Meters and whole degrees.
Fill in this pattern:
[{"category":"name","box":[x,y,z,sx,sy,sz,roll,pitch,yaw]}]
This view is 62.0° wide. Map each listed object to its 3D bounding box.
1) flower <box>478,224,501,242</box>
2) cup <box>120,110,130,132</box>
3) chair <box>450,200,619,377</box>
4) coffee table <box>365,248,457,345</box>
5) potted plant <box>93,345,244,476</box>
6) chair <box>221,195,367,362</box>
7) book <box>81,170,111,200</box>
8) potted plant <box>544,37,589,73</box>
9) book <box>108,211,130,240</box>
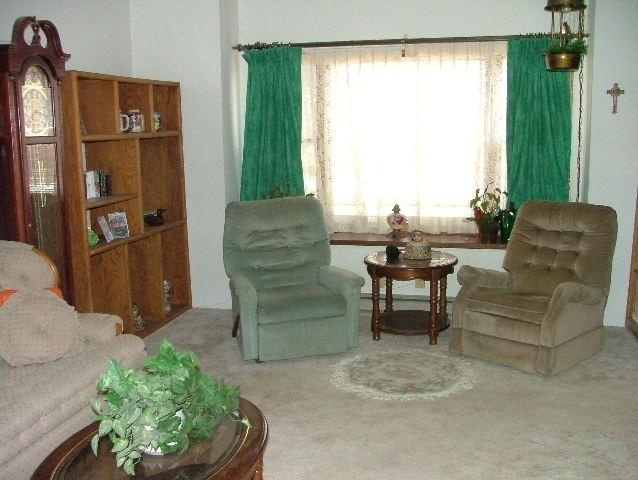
[{"category":"flower","box":[1.704,-0.084,5.334,0.181,0.186,0.196,0,-2,13]},{"category":"cup","box":[-1.732,-1.050,4.700,0.114,0.151,0.055,-1,8,-17]},{"category":"chair","box":[1.711,0.290,4.694,1.466,1.475,1.180,-4,6,-40]},{"category":"coffee table","box":[0.779,0.428,4.768,0.820,0.666,0.792,1,11,5]},{"category":"potted plant","box":[-0.698,0.687,2.228,0.549,0.232,0.533,-2,13,-13]},{"category":"chair","box":[-0.238,0.242,4.835,1.208,1.380,1.320,-4,6,-15]},{"category":"book","box":[-1.874,-0.478,4.580,0.220,0.283,0.296,-1,7,0]},{"category":"potted plant","box":[1.863,-1.408,4.032,0.292,0.224,0.253,2,14,14]},{"category":"book","box":[-1.760,-0.136,4.633,0.212,0.283,0.039,-15,0,-41]}]
